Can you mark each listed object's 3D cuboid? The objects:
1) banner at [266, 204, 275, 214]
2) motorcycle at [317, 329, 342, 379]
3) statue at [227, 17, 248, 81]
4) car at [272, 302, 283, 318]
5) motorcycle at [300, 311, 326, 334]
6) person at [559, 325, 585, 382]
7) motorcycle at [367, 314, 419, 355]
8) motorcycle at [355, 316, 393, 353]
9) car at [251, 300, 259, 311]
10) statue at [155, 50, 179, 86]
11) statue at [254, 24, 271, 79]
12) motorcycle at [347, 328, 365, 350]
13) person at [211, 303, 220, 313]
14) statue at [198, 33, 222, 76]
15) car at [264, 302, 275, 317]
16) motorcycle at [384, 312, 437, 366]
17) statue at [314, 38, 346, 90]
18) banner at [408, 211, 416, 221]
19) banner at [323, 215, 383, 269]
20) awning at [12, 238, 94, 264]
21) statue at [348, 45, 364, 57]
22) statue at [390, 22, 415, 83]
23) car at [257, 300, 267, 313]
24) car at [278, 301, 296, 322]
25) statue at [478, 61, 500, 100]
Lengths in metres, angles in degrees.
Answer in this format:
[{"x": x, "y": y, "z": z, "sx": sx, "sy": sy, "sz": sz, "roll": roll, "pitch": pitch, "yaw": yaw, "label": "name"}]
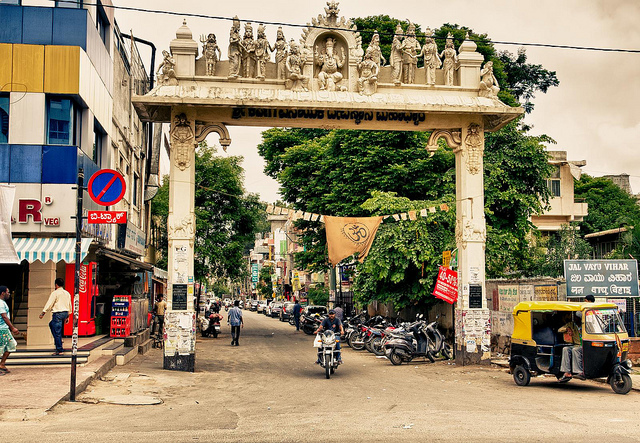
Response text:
[{"x": -1.825, "y": -0.492, "z": 32.686, "sx": 0.064, "sy": 0.261, "sz": 0.269, "roll": 10, "pitch": -2, "yaw": -42, "label": "banner"}, {"x": 0.328, "y": 4.429, "z": 31.217, "sx": 0.864, "sy": 1.513, "sz": 2.547, "roll": 0, "pitch": 4, "yaw": 3, "label": "motorcycle"}, {"x": -3.110, "y": -6.415, "z": 32.826, "sx": 0.598, "sy": 2.215, "sz": 0.974, "roll": 2, "pitch": -6, "yaw": -6, "label": "statue"}, {"x": -3.542, "y": 7.232, "z": 73.374, "sx": 0.900, "sy": 0.831, "sz": 1.558, "roll": 1, "pitch": 4, "yaw": -6, "label": "car"}, {"x": -0.317, "y": 5.715, "z": 49.292, "sx": 1.287, "sy": 1.575, "sz": 2.679, "roll": 3, "pitch": -3, "yaw": -2, "label": "motorcycle"}, {"x": 8.007, "y": 4.382, "z": 27.937, "sx": 0.756, "sy": 1.205, "sz": 0.479, "roll": -1, "pitch": -6, "yaw": 23, "label": "person"}, {"x": 2.738, "y": 4.746, "z": 36.514, "sx": 2.370, "sy": 1.437, "sz": 1.227, "roll": 1, "pitch": -3, "yaw": -23, "label": "motorcycle"}, {"x": 2.433, "y": 4.853, "z": 40.080, "sx": 1.703, "sy": 1.205, "sz": 0.951, "roll": -1, "pitch": -5, "yaw": -7, "label": "motorcycle"}, {"x": -7.545, "y": 9.686, "z": 101.878, "sx": 0.913, "sy": 0.811, "sz": 1.543, "roll": 1, "pitch": 2, "yaw": -3, "label": "car"}, {"x": -5.599, "y": -5.653, "z": 32.609, "sx": 0.738, "sy": 1.271, "sz": 0.472, "roll": 4, "pitch": -7, "yaw": -26, "label": "statue"}, {"x": -2.178, "y": -6.376, "z": 33.102, "sx": 0.533, "sy": 2.011, "sz": 0.635, "roll": 1, "pitch": -6, "yaw": 4, "label": "statue"}, {"x": 1.606, "y": 5.219, "z": 39.604, "sx": 0.797, "sy": 0.938, "sz": 0.404, "roll": 0, "pitch": -6, "yaw": 13, "label": "motorcycle"}, {"x": -5.643, "y": 4.644, "z": 47.628, "sx": 0.494, "sy": 0.520, "sz": 0.929, "roll": -1, "pitch": -10, "yaw": -3, "label": "person"}, {"x": -3.966, "y": -6.295, "z": 31.989, "sx": 0.739, "sy": 1.459, "sz": 2.394, "roll": 2, "pitch": -6, "yaw": -8, "label": "statue"}, {"x": -4.605, "y": 8.021, "z": 80.907, "sx": 0.977, "sy": 0.944, "sz": 2.163, "roll": 0, "pitch": -2, "yaw": -6, "label": "car"}, {"x": 3.480, "y": 4.639, "z": 33.996, "sx": 1.905, "sy": 1.674, "sz": 0.996, "roll": 2, "pitch": -6, "yaw": -2, "label": "motorcycle"}, {"x": 0.289, "y": -6.015, "z": 33.552, "sx": 1.023, "sy": 2.049, "sz": 0.426, "roll": 2, "pitch": -6, "yaw": -4, "label": "statue"}, {"x": 3.525, "y": -0.260, "z": 33.459, "sx": 0.261, "sy": 0.288, "sz": 0.282, "roll": 7, "pitch": 8, "yaw": 43, "label": "banner"}, {"x": 1.390, "y": 0.702, "z": 34.816, "sx": 2.317, "sy": 2.105, "sz": 0.330, "roll": 2, "pitch": -11, "yaw": -8, "label": "banner"}, {"x": -9.660, "y": 0.949, "z": 30.950, "sx": 2.082, "sy": 0.888, "sz": 1.460, "roll": 3, "pitch": -7, "yaw": -14, "label": "awning"}, {"x": 1.437, "y": -6.552, "z": 33.761, "sx": 0.632, "sy": 0.551, "sz": 0.226, "roll": 4, "pitch": -6, "yaw": -21, "label": "statue"}, {"x": 3.034, "y": -6.330, "z": 34.054, "sx": 0.575, "sy": 2.003, "sz": 0.842, "roll": 7, "pitch": -8, "yaw": -44, "label": "statue"}, {"x": -6.021, "y": 8.749, "z": 91.484, "sx": 0.995, "sy": 0.976, "sz": 1.746, "roll": 1, "pitch": 2, "yaw": -9, "label": "car"}, {"x": -2.155, "y": 6.516, "z": 65.779, "sx": 1.567, "sy": 1.488, "sz": 2.626, "roll": 1, "pitch": -11, "yaw": -13, "label": "car"}, {"x": 6.564, "y": -5.518, "z": 34.407, "sx": 0.760, "sy": 1.675, "sz": 1.083, "roll": 0, "pitch": -6, "yaw": 11, "label": "statue"}]
